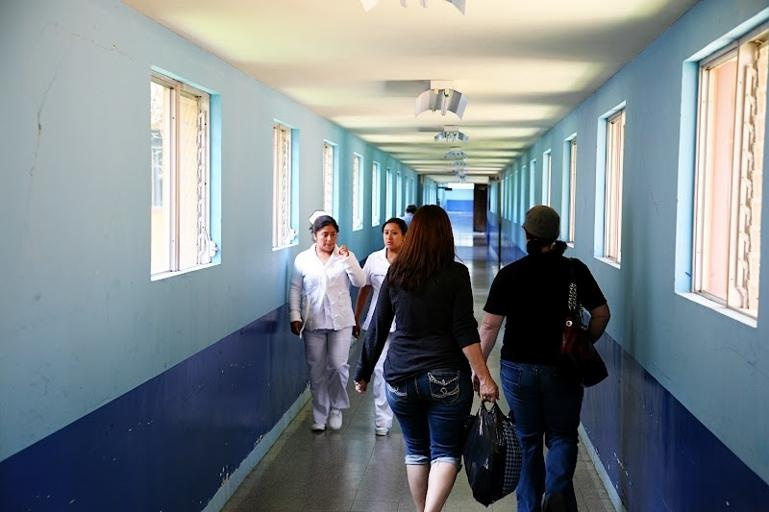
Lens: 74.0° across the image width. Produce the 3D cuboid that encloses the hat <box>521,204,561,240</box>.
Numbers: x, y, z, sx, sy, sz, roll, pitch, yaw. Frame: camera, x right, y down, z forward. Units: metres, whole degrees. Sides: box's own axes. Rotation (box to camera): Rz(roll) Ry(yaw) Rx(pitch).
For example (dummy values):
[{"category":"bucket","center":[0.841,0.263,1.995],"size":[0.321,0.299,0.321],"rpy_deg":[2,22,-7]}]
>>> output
[{"category":"hat","center":[1.026,-0.218,3.367],"size":[0.189,0.141,0.256],"rpy_deg":[8,19,4]}]

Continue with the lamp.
[{"category":"lamp","center":[0.668,-1.412,5.473],"size":[0.610,0.332,1.526],"rpy_deg":[4,-21,10]}]

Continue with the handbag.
[{"category":"handbag","center":[1.241,0.435,3.153],"size":[0.260,0.809,0.293],"rpy_deg":[2,4,24]}]

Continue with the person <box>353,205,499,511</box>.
[{"category":"person","center":[0.241,0.605,2.919],"size":[0.793,1.776,0.326],"rpy_deg":[2,4,12]}]
